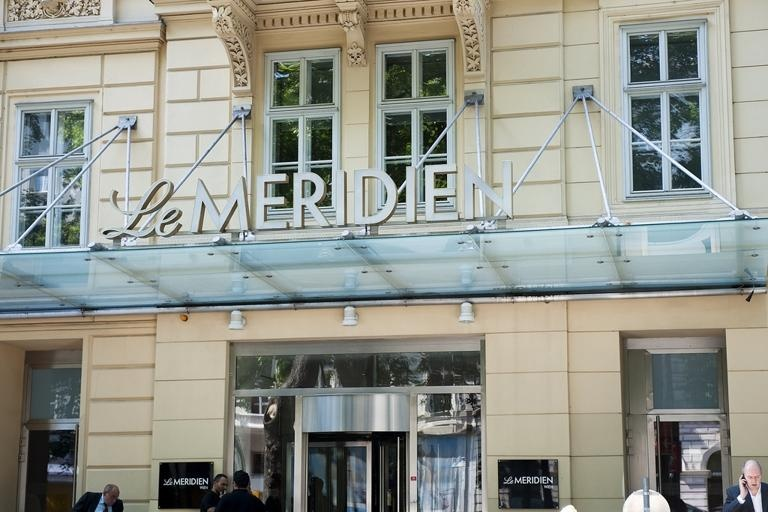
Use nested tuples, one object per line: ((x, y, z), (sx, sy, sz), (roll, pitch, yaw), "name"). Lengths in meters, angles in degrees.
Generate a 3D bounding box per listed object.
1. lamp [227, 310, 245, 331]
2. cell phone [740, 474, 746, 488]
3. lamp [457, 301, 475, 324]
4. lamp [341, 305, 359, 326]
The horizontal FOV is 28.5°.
((-2.217, 0.996, 22.649), (0.222, 0.291, 0.252), (2, -51, -3), "lamp")
((4.558, 2.850, 19.207), (0.074, 0.145, 0.218), (-4, -14, 12), "cell phone")
((1.202, 0.847, 22.041), (0.281, 0.297, 0.279), (0, -16, 3), "lamp")
((-0.516, 0.916, 22.365), (0.221, 0.292, 0.277), (1, 2, 4), "lamp")
